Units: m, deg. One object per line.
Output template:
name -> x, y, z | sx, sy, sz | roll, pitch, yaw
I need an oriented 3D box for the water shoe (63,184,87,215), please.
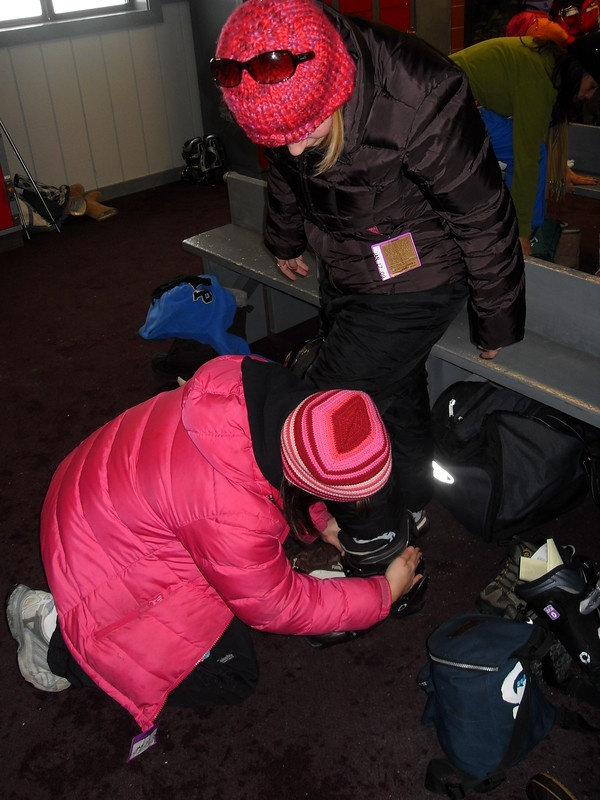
water shoe -> -1.833, -1.584, 4.707 | 0.140, 0.352, 0.152 | 8, -19, -19

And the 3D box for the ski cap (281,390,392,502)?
ski cap -> 0.046, 0.065, 0.783 | 0.142, 0.129, 0.111 | -9, 29, 1

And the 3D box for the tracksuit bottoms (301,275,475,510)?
tracksuit bottoms -> 0.212, -0.024, 1.292 | 0.261, 0.628, 0.295 | -19, 51, -6

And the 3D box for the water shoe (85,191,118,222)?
water shoe -> -1.677, -1.550, 4.754 | 0.311, 0.077, 0.289 | 6, 46, -27

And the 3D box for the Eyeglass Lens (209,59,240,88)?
Eyeglass Lens -> -0.121, -0.515, 0.923 | 0.058, 0.023, 0.054 | 14, 27, -24

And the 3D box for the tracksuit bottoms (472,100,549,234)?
tracksuit bottoms -> 0.862, -0.914, 2.467 | 0.462, 0.507, 0.153 | 6, 7, -28

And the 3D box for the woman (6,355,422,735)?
woman -> -0.142, 0.336, 1.165 | 0.725, 0.728, 0.469 | 9, 56, -4

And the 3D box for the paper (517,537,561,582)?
paper -> 0.552, 0.364, 1.386 | 0.036, 0.100, 0.101 | 47, 4, 11

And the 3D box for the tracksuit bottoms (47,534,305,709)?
tracksuit bottoms -> -0.369, 0.645, 1.590 | 0.547, 0.559, 0.171 | -9, -4, -28

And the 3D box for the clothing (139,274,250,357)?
clothing -> -0.397, -0.320, 2.177 | 0.417, 0.451, 0.201 | 8, 70, 0
